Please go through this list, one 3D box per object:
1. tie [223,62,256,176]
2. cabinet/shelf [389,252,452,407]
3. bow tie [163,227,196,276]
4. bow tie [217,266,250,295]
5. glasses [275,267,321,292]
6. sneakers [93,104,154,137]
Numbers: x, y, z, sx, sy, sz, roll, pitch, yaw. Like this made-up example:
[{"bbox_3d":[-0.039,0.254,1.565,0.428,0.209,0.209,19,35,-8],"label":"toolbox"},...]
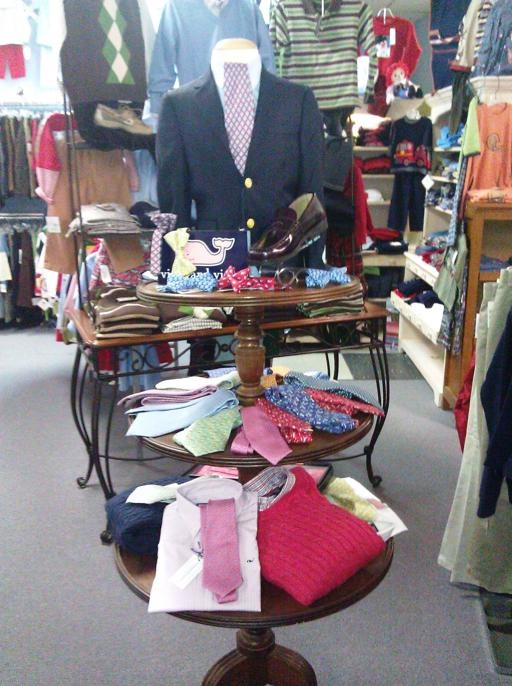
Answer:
[{"bbox_3d":[-0.048,-0.692,1.740,0.107,0.311,0.107,-1,13,-2],"label":"tie"},{"bbox_3d":[1.153,-0.073,3.864,0.313,0.700,0.910,-2,22,-6],"label":"cabinet/shelf"},{"bbox_3d":[-0.168,-0.200,1.249,0.070,0.124,0.039,2,-10,-4],"label":"bow tie"},{"bbox_3d":[-0.039,-0.119,1.057,0.056,0.021,0.063,2,58,22],"label":"bow tie"},{"bbox_3d":[0.084,-0.125,1.111,0.074,0.046,0.125,0,5,-3],"label":"glasses"},{"bbox_3d":[-0.612,-0.994,2.558,0.291,0.132,0.111,2,30,-25],"label":"sneakers"}]
